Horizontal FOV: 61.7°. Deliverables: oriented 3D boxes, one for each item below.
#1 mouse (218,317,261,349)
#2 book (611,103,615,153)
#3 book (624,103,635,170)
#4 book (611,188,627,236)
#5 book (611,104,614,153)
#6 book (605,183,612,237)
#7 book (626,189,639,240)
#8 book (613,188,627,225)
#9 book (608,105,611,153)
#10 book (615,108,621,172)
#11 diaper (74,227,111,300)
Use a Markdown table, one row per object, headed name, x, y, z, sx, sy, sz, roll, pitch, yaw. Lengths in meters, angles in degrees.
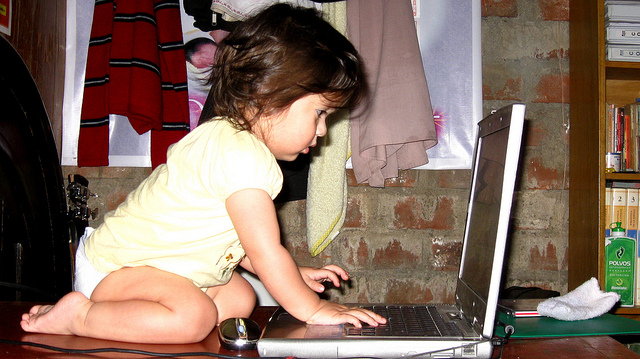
| name | x | y | z | sx | sy | sz | roll | pitch | yaw |
| --- | --- | --- | --- | --- | --- | --- | --- | --- | --- |
| mouse | -0.269 | 0.513 | 1.794 | 0.133 | 0.094 | 0.067 | 1 | -3 | -11 |
| book | 1.386 | -0.241 | 2.544 | 0.013 | 0.227 | 0.031 | 0 | -2 | 28 |
| book | 1.451 | -0.199 | 2.519 | 0.041 | 0.305 | 0.015 | 0 | -2 | 31 |
| book | 1.392 | 0.135 | 2.498 | 0.069 | 0.188 | 0.014 | 1 | -2 | -3 |
| book | 1.383 | -0.238 | 2.543 | 0.011 | 0.220 | 0.030 | 0 | -2 | 29 |
| book | 1.327 | 0.138 | 2.473 | 0.029 | 0.246 | 0.084 | 0 | -2 | 28 |
| book | 1.451 | 0.157 | 2.495 | 0.057 | 0.223 | 0.012 | 1 | -2 | -5 |
| book | 1.394 | 0.126 | 2.499 | 0.063 | 0.159 | 0.014 | 1 | -2 | -4 |
| book | 1.370 | -0.241 | 2.545 | 0.011 | 0.220 | 0.026 | 0 | -2 | 29 |
| book | 1.399 | -0.189 | 2.526 | 0.025 | 0.297 | 0.030 | 0 | -2 | 26 |
| diaper | -0.831 | 0.317 | 2.005 | 0.163 | 0.191 | 0.080 | 1 | -5 | 9 |
